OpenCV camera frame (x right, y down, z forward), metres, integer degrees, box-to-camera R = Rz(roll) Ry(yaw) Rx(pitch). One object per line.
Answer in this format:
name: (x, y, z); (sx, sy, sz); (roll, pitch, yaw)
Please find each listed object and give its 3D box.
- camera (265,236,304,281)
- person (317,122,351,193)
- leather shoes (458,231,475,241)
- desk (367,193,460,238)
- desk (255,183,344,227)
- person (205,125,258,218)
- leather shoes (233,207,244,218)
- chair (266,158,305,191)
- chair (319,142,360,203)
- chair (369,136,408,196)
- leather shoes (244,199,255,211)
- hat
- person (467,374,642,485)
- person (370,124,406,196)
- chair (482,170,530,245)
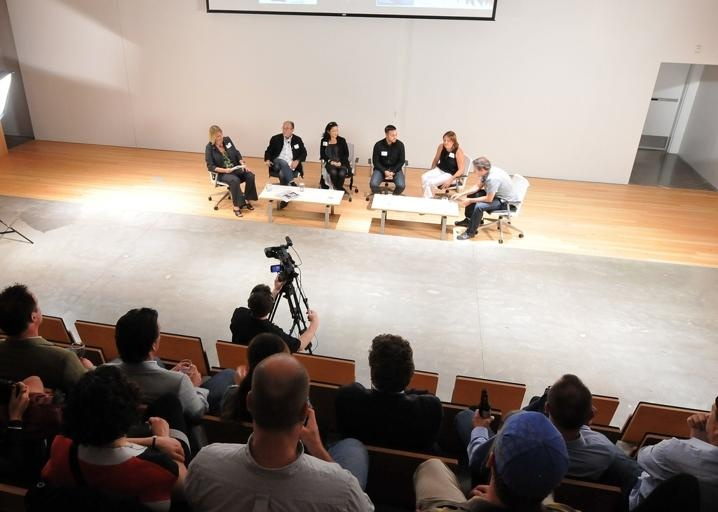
camera: (-0.640, 0.064, 4.151); (0.268, 0.163, 0.456); (-8, 52, -34)
person: (-0.396, -1.782, 8.101); (0.583, 1.162, 0.583); (3, 13, -6)
leather shoes: (1.604, -0.327, 6.880); (0.324, 0.147, 0.124); (-2, 44, -3)
desk: (0.841, -0.624, 6.976); (1.262, 0.537, 0.747); (6, 13, 5)
desk: (-0.897, -0.868, 7.338); (1.242, 0.545, 1.135); (4, 13, 0)
person: (-2.083, -1.437, 7.527); (0.569, 1.338, 0.908); (-8, 17, -42)
leather shoes: (-1.922, -0.700, 7.287); (0.088, 0.072, 0.248); (-17, 41, -23)
chair: (-1.308, -1.515, 8.178); (0.413, 0.265, 0.643); (7, 30, 4)
chair: (-0.280, -1.590, 8.280); (0.556, 0.761, 0.505); (-2, 24, -26)
chair: (0.529, -1.596, 8.095); (0.574, 1.471, 0.820); (2, 19, 3)
leather shoes: (-1.837, -0.864, 7.632); (0.104, 0.076, 0.273); (-17, 50, -43)
hat: (0.714, 0.826, 1.899); (0.262, 0.275, 0.172); (7, 13, 12)
person: (1.230, 1.127, 2.590); (0.553, 0.816, 0.384); (-1, 40, 50)
person: (0.538, -1.696, 8.053); (0.614, 1.186, 0.703); (4, 13, 2)
chair: (2.211, -0.809, 7.080); (0.662, 0.911, 0.741); (4, 28, 5)
